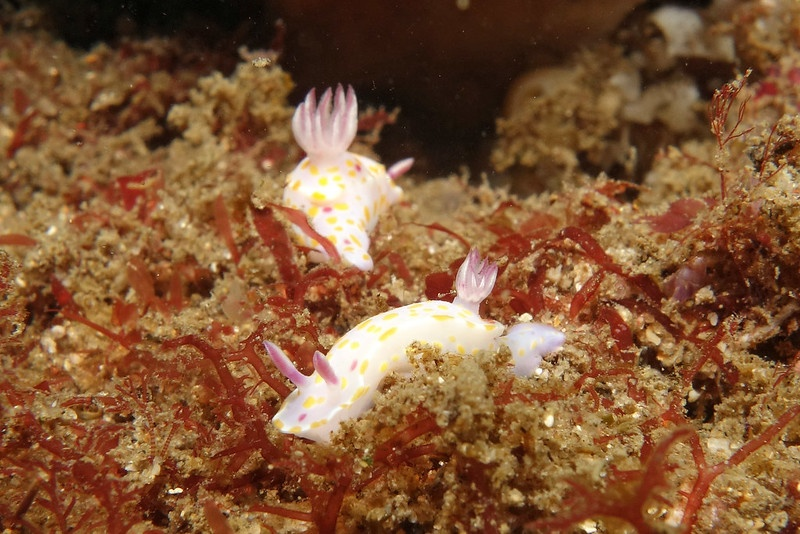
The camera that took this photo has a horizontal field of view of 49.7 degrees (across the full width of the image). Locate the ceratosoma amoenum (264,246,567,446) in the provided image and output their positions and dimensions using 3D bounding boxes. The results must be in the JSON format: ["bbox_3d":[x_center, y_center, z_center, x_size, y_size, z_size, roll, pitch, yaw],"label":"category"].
[{"bbox_3d":[0.030,0.336,4.083,1.399,0.364,0.605,-16,60,-6],"label":"ceratosoma amoenum"}]

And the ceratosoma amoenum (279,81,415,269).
[{"bbox_3d":[-0.331,-0.438,4.650,0.574,0.577,0.911,9,60,8],"label":"ceratosoma amoenum"}]
